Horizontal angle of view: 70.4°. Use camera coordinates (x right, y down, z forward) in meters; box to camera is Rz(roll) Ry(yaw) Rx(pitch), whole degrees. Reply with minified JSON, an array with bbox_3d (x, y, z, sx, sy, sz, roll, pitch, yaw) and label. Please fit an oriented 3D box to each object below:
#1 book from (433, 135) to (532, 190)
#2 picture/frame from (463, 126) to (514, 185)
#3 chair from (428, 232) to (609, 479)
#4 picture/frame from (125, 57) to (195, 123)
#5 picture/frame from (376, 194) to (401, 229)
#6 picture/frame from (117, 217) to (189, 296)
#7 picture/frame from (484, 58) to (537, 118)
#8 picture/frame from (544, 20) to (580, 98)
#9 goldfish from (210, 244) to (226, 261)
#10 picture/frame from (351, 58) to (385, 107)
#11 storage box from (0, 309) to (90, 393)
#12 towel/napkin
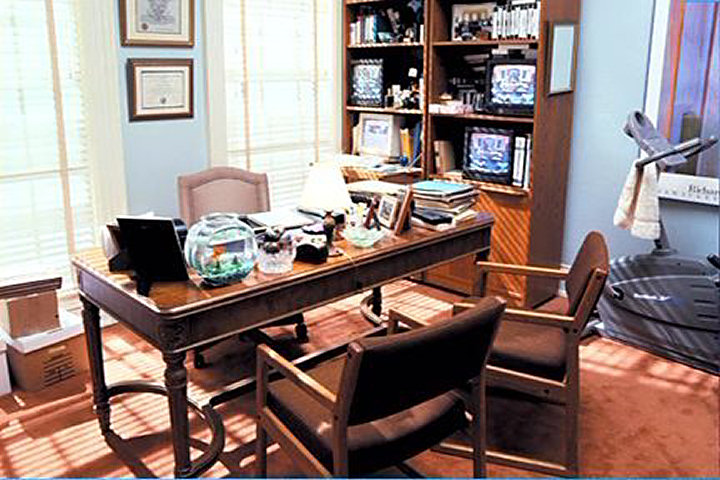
[{"bbox_3d":[1.119,-0.696,4.612,0.590,0.360,0.317,15,27,36],"label":"book"},{"bbox_3d":[1.175,-0.765,4.646,0.482,0.452,0.265,16,22,42],"label":"picture/frame"},{"bbox_3d":[0.963,0.491,3.726,1.355,1.728,1.475,5,17,20],"label":"chair"},{"bbox_3d":[-1.799,-1.343,4.523,0.622,0.563,0.046,-10,20,-38],"label":"picture/frame"},{"bbox_3d":[0.190,-0.184,3.364,0.030,0.211,0.187,5,17,-39],"label":"picture/frame"},{"bbox_3d":[-1.080,0.076,2.613,0.328,0.370,0.184,-2,18,0],"label":"picture/frame"},{"bbox_3d":[1.319,-1.331,4.433,0.280,0.448,0.485,-18,26,-42],"label":"picture/frame"},{"bbox_3d":[1.696,-1.556,4.331,0.050,0.683,0.631,9,20,40],"label":"picture/frame"},{"bbox_3d":[-0.726,0.066,2.618,0.063,0.076,0.036,6,1,-21],"label":"goldfish"},{"bbox_3d":[0.092,-1.662,5.360,0.363,0.480,0.362,18,32,31],"label":"picture/frame"},{"bbox_3d":[-2.321,0.758,3.758,0.416,0.327,0.557,-19,29,-37],"label":"storage box"},{"bbox_3d":[2.131,-0.287,3.893,0.315,0.625,0.228,8,21,29],"label":"towel/napkin"}]
